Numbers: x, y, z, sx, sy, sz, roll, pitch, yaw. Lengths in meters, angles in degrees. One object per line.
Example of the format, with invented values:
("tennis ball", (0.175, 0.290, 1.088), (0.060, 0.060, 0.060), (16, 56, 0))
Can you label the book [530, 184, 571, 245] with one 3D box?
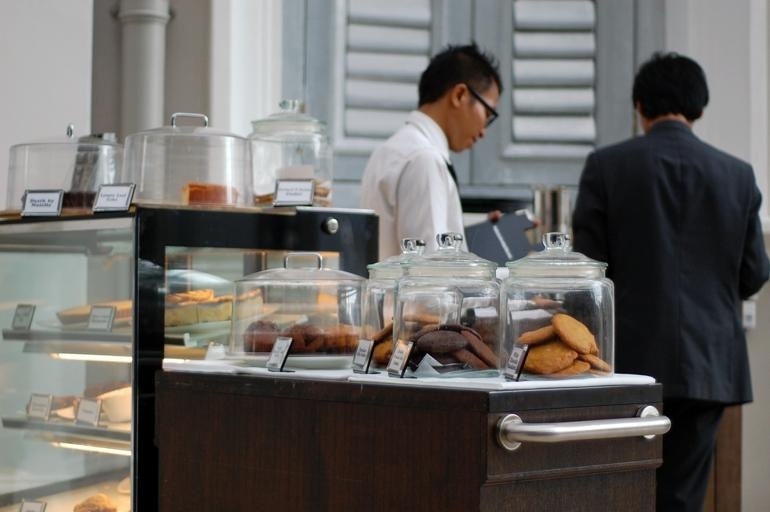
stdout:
("book", (0.752, -0.197, 5.132), (0.217, 0.405, 0.236), (-1, 1, 8))

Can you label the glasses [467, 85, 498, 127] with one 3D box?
("glasses", (0.388, -0.578, 4.374), (0.035, 0.140, 0.135), (-15, -13, 10))

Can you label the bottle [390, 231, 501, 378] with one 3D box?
("bottle", (0.188, 0.142, 3.256), (0.301, 0.463, 0.329), (0, -6, 0))

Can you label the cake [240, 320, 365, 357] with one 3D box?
("cake", (-0.248, 0.240, 3.379), (0.349, 0.103, 0.054), (0, -1, -1))

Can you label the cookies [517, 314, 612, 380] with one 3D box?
("cookies", (0.510, 0.253, 3.221), (0.252, 0.169, 0.076), (0, -1, 2))

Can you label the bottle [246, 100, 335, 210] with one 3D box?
("bottle", (-0.319, -0.353, 3.951), (0.289, 0.351, 0.298), (0, -5, -6))
